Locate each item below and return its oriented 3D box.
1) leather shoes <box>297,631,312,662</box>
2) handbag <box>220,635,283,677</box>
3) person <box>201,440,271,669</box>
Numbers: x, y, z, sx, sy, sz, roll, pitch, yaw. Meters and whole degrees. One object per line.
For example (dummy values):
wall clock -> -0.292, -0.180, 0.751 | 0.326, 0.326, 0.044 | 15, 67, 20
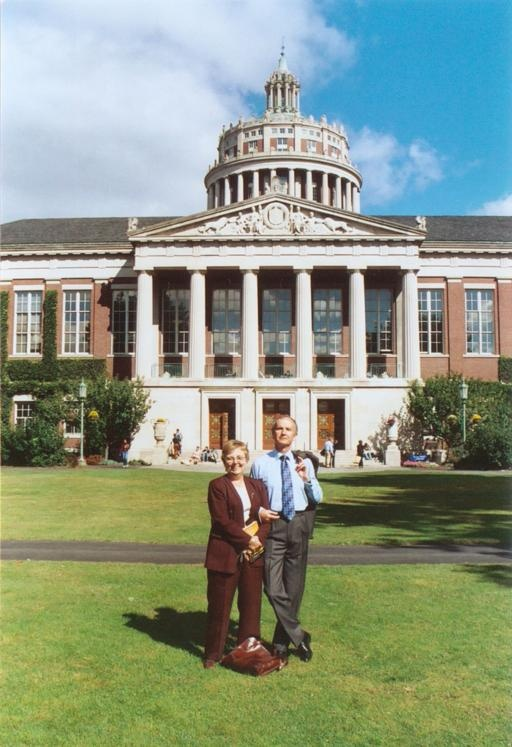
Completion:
leather shoes -> 0.492, 2.738, 7.969 | 0.163, 0.274, 0.415 | 1, -4, 4
handbag -> -0.006, 2.730, 7.545 | 0.381, 0.138, 0.378 | -7, 12, -34
person -> -0.201, 1.732, 7.600 | 0.566, 2.151, 0.634 | -2, -5, 27
